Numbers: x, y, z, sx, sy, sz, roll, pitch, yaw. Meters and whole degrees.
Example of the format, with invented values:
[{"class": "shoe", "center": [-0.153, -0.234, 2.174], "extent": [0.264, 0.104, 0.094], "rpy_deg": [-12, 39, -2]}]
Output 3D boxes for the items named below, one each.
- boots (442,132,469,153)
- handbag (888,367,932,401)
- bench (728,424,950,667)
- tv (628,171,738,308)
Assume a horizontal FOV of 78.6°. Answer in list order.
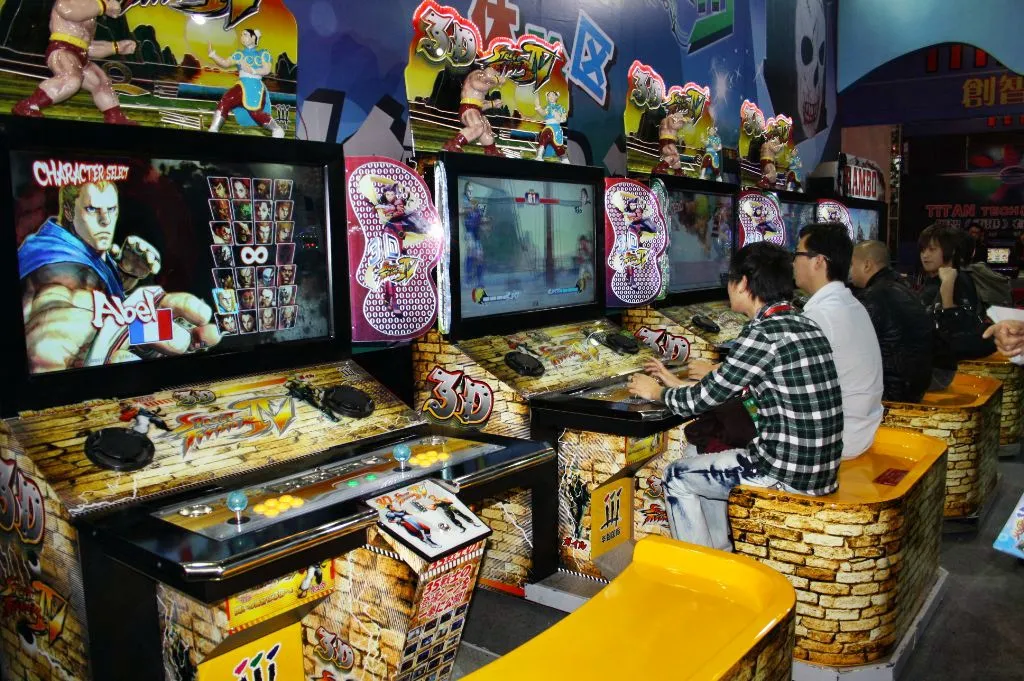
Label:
[{"class": "boots", "center": [-0.261, -0.964, 3.019], "extent": [0.038, 0.083, 0.156], "rpy_deg": [8, 15, 33]}, {"class": "handbag", "center": [2.538, 0.269, 3.992], "extent": [0.176, 0.160, 0.119], "rpy_deg": [-10, 37, -3]}, {"class": "bench", "center": [1.458, 0.891, 2.882], "extent": [0.861, 0.670, 1.133], "rpy_deg": [3, 11, 32]}, {"class": "tv", "center": [1.039, -0.622, 3.864], "extent": [0.370, 0.871, 0.996], "rpy_deg": [6, 7, 45]}]
